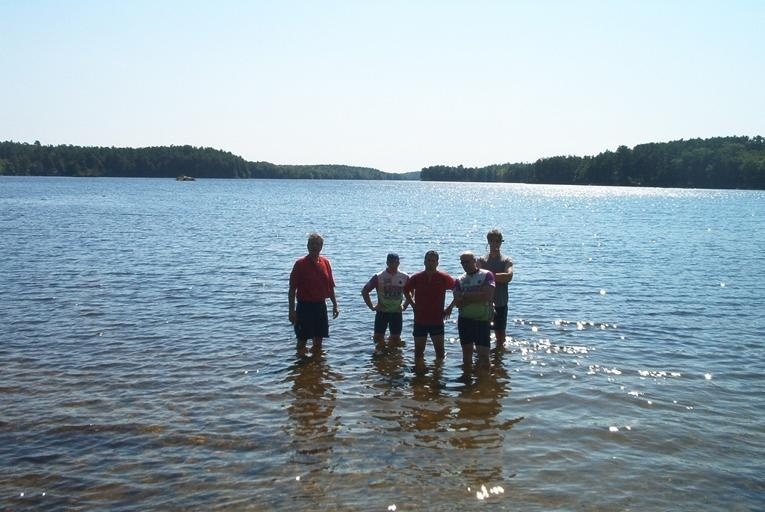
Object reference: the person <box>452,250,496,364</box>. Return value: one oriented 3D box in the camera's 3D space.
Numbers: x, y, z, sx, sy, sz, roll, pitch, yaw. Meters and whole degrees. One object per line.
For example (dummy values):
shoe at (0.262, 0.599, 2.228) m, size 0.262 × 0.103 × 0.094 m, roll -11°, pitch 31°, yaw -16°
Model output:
person at (2.125, 1.245, 16.383) m, size 0.924 × 2.727 × 0.879 m, roll 2°, pitch 7°, yaw 6°

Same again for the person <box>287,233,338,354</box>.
person at (-1.701, 0.937, 16.923) m, size 1.144 × 3.082 × 1.050 m, roll 1°, pitch 7°, yaw -4°

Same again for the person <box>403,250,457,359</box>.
person at (1.123, 1.223, 16.690) m, size 1.018 × 2.676 × 0.539 m, roll 2°, pitch 7°, yaw 4°
